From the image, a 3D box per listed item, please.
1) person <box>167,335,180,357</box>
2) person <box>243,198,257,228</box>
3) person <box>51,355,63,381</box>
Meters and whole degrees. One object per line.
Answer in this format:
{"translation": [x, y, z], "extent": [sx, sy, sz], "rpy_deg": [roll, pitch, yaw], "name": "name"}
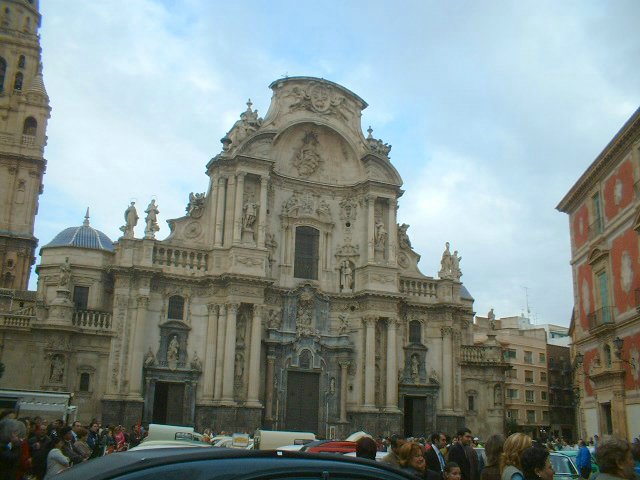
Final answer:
{"translation": [-8.005, 5.839, 35.746], "extent": [0.667, 1.465, 0.461], "rpy_deg": [7, -21, -11], "name": "person"}
{"translation": [-4.050, -1.426, 37.993], "extent": [0.857, 1.763, 0.540], "rpy_deg": [19, -26, -37], "name": "person"}
{"translation": [-13.433, 6.556, 33.457], "extent": [0.628, 1.333, 0.244], "rpy_deg": [10, -22, -19], "name": "person"}
